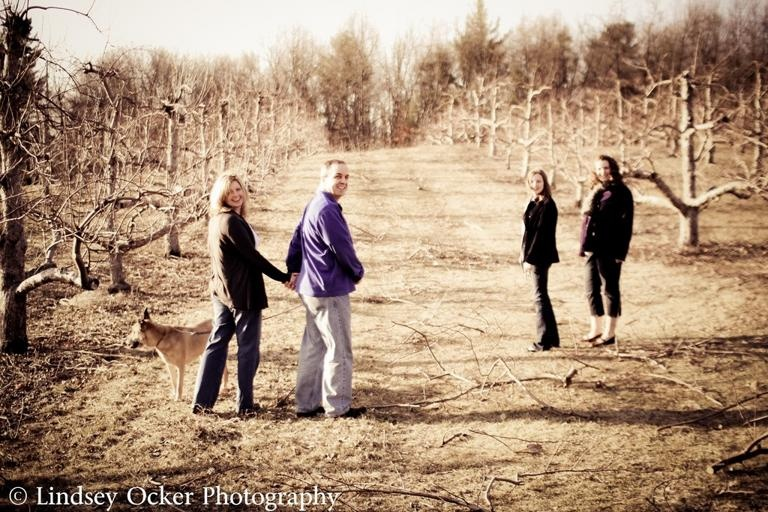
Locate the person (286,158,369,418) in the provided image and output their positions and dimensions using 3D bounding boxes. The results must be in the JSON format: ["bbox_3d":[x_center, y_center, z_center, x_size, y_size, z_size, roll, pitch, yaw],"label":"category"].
[{"bbox_3d":[-0.997,0.613,13.407,1.143,4.420,0.386,-2,2,-3],"label":"person"}]

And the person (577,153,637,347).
[{"bbox_3d":[4.208,-0.055,14.789,0.926,3.607,0.417,-1,3,14],"label":"person"}]

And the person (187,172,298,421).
[{"bbox_3d":[-2.579,0.696,13.365,1.317,4.158,0.478,-3,3,-14],"label":"person"}]

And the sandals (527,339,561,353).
[{"bbox_3d":[3.058,1.735,14.995,0.593,0.229,0.238,0,5,4],"label":"sandals"}]

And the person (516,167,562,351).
[{"bbox_3d":[2.949,0.123,14.849,0.681,3.463,0.555,-1,3,12],"label":"person"}]
